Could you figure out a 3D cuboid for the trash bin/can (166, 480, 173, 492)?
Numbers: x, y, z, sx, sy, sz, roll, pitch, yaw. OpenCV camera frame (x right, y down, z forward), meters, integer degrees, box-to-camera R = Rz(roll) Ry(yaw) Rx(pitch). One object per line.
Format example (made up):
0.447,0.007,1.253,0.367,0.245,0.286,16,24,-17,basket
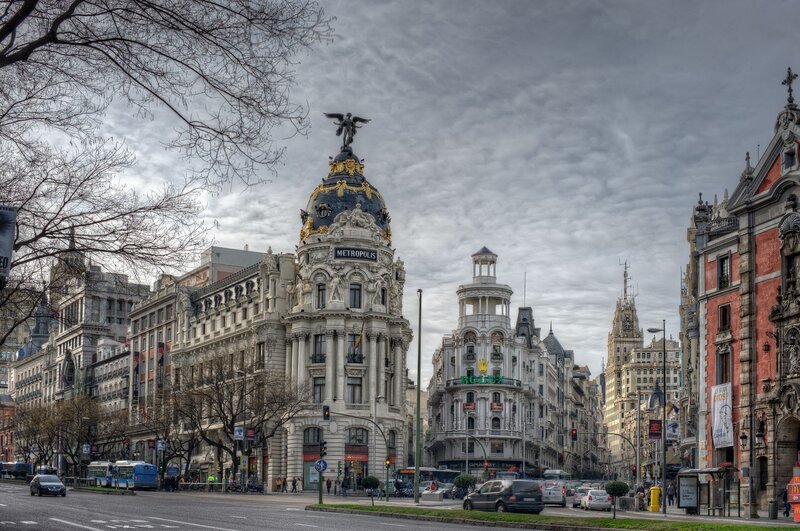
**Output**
-23.948,22.652,171.520,0.759,1.128,3.284,3,-3,-9,trash bin/can

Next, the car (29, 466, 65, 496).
-31.076,19.472,146.165,2.389,1.846,3.925,4,-3,-20,car

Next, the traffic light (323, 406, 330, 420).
-6.537,12.965,146.147,0.338,1.040,0.708,3,-3,6,traffic light

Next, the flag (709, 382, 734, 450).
27.129,12.572,139.603,0.601,5.398,2.734,4,-3,-22,flag

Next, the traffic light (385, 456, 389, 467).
-1.216,18.213,153.851,0.257,0.856,1.069,3,-3,-5,traffic light

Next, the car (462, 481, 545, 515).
8.462,18.485,132.727,5.012,1.949,3.223,-1,-5,43,car

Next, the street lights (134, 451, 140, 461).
-32.356,23.364,203.519,0.983,1.156,0.888,4,-15,-19,street lights

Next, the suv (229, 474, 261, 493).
-15.882,22.092,167.200,3.052,1.365,1.597,-2,-4,4,suv
